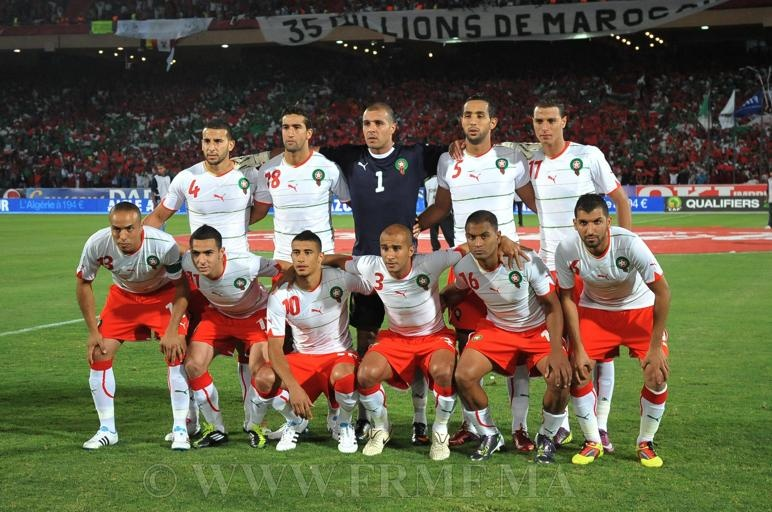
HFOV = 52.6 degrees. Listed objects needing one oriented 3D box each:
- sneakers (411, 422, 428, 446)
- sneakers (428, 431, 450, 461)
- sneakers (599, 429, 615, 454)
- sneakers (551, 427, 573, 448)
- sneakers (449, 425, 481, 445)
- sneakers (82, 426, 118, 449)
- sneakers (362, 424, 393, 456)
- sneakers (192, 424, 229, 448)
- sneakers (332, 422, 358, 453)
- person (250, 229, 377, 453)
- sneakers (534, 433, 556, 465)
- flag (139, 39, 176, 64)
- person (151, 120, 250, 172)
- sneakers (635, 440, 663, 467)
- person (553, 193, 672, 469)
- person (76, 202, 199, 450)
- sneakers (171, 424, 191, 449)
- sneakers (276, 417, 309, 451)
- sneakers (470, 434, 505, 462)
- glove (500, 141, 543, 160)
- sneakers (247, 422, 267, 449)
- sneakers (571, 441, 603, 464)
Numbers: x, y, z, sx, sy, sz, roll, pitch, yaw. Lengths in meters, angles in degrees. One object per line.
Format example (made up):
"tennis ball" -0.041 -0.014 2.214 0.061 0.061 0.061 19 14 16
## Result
"sneakers" 0.326 1.726 7.567 0.134 0.152 0.354 -2 -9 4
"sneakers" 0.501 1.755 7.306 0.184 0.258 0.224 0 5 5
"sneakers" 2.068 1.751 7.335 0.083 0.097 0.229 -2 16 -8
"sneakers" 1.695 1.744 7.506 0.095 0.123 0.273 -19 -1 27
"sneakers" 0.770 1.752 7.686 0.372 0.171 0.125 -5 -3 -27
"sneakers" -2.697 1.746 7.516 0.133 0.180 0.411 2 -2 41
"sneakers" -0.079 1.781 7.384 0.149 0.135 0.384 -39 10 30
"sneakers" -1.750 1.765 7.566 0.433 0.187 0.144 9 -14 -42
"sneakers" -0.361 1.715 7.433 0.204 0.260 0.239 0 5 -3
"person" -0.670 0.803 7.528 0.953 2.054 0.569 0 4 -3
"sneakers" 1.473 1.777 7.241 0.186 0.224 0.222 1 5 10
"flag" -9.038 -8.089 30.933 0.464 0.687 2.296 -27 25 -26
"person" -1.932 -1.142 8.268 0.556 0.725 0.462 3 8 5
"sneakers" 2.407 1.799 7.121 0.224 0.192 0.196 1 5 16
"person" 2.092 0.658 7.285 1.016 2.444 0.639 1 4 12
"person" -2.481 0.642 7.678 1.145 2.330 0.850 0 4 -4
"sneakers" -1.949 1.731 7.432 0.173 0.203 0.146 -1 5 -14
"sneakers" -0.911 1.725 7.522 0.154 0.465 0.193 23 -35 10
"sneakers" 0.970 1.749 7.360 0.412 0.182 0.144 -29 21 -36
"glove" 1.440 -1.116 8.142 0.342 0.114 0.204 9 18 -8
"sneakers" -1.240 1.733 7.509 0.109 0.122 0.273 -6 11 -33
"sneakers" 1.865 1.796 7.229 0.318 0.140 0.141 -8 6 -36
